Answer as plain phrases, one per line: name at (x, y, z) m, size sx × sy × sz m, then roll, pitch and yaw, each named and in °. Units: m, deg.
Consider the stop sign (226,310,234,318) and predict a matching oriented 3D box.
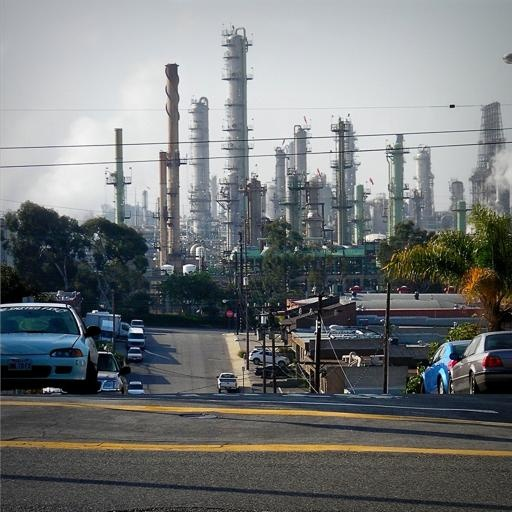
stop sign at (-1.606, 3.485, 81.220) m, size 0.524 × 0.705 × 0.269 m, roll 0°, pitch 29°, yaw 3°
